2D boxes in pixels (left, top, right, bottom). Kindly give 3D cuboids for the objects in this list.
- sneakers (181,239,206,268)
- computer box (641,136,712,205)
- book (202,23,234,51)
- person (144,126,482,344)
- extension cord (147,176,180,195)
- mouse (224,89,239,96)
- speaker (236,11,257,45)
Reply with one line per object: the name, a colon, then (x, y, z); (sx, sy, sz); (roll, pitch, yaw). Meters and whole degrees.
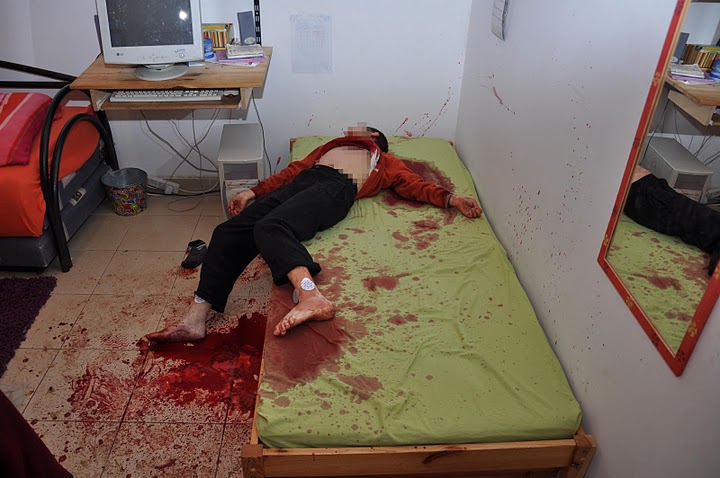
sneakers: (-1.222, 0.122, 3.507); (0.129, 0.106, 0.256); (1, 37, 12)
computer box: (1.196, -0.257, 1.736); (0.146, 0.179, 0.249); (-30, 57, 9)
book: (-1.137, -1.587, 3.721); (0.222, 0.133, 0.224); (-2, 44, -6)
person: (-0.342, -0.265, 3.167); (1.399, 0.465, 1.779); (9, 41, 24)
extension cord: (-1.744, -0.474, 4.133); (0.225, 0.075, 0.173); (6, 35, -26)
mouse: (-0.942, -1.073, 3.403); (0.094, 0.019, 0.049); (-3, 46, -7)
speaker: (-0.895, -1.688, 3.701); (0.137, 0.239, 0.110); (-4, 27, -11)
